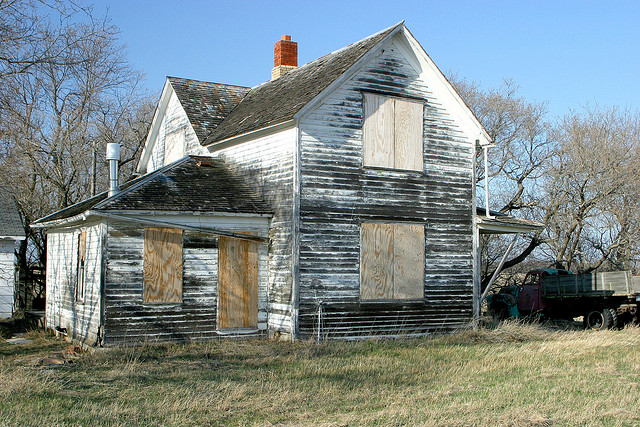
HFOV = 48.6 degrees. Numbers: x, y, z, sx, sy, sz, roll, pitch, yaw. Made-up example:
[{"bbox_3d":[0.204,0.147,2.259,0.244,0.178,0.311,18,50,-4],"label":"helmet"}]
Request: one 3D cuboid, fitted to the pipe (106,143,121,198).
[{"bbox_3d":[-7.299,-1.565,25.018,0.423,1.834,1.346,-2,3,-17],"label":"pipe"}]
